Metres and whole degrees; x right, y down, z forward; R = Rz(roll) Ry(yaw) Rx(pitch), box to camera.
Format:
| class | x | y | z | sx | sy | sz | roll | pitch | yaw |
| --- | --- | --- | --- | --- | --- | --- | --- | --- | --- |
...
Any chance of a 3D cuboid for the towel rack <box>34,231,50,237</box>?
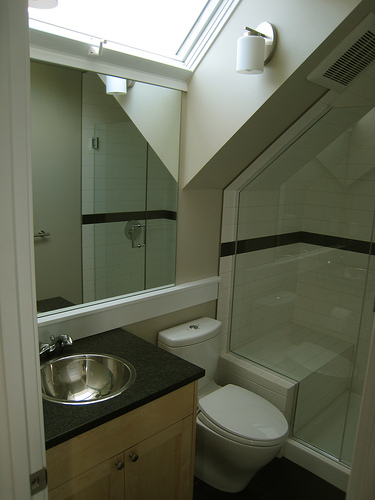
| class | x | y | z | sx | sy | sz | roll | pitch | yaw |
| --- | --- | --- | --- | --- | --- | --- | --- | --- | --- |
| towel rack | -0.595 | -0.067 | 1.623 | 0.004 | 0.023 | 0.062 | 13 | 10 | 43 |

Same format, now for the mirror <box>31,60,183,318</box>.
| class | x | y | z | sx | sy | sz | roll | pitch | yaw |
| --- | --- | --- | --- | --- | --- | --- | --- | --- | --- |
| mirror | -0.338 | -0.274 | 1.838 | 0.049 | 1.100 | 0.874 | 13 | 9 | 40 |

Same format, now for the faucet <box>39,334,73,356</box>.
| class | x | y | z | sx | sy | sz | roll | pitch | yaw |
| --- | --- | --- | --- | --- | --- | --- | --- | --- | --- |
| faucet | -0.514 | 0.367 | 1.540 | 0.195 | 0.081 | 0.056 | -14 | -11 | 34 |

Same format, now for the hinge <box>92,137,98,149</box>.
| class | x | y | z | sx | sy | sz | roll | pitch | yaw |
| --- | --- | --- | --- | --- | --- | --- | --- | --- | --- |
| hinge | -0.401 | -0.470 | 1.717 | 0.018 | 0.056 | 0.044 | 9 | 10 | 26 |

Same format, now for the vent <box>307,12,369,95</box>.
| class | x | y | z | sx | sy | sz | roll | pitch | yaw |
| --- | --- | --- | --- | --- | --- | --- | --- | --- | --- |
| vent | 0.637 | -0.832 | 1.682 | 0.180 | 0.039 | 0.197 | -37 | -24 | 30 |
